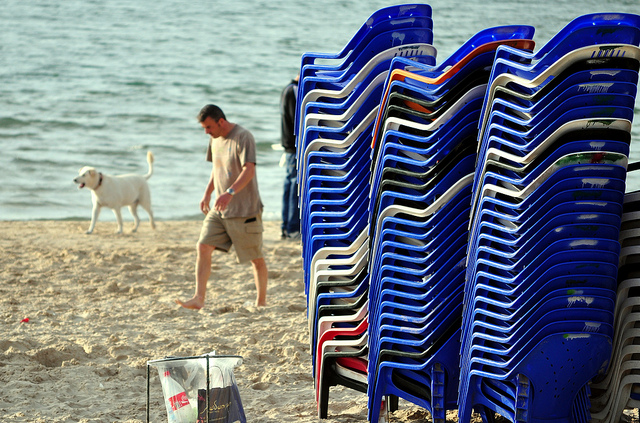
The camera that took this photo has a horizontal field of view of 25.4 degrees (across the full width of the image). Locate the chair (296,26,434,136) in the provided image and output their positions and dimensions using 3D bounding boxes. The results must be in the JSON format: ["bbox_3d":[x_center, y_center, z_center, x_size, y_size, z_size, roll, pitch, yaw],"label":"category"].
[{"bbox_3d":[0.994,-2.219,20.954,1.484,1.803,1.251,23,27,31],"label":"chair"}]

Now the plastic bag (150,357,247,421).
[{"bbox_3d":[-1.629,2.474,19.542,1.173,0.808,0.946,-2,0,14],"label":"plastic bag"}]

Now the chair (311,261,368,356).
[{"bbox_3d":[0.325,1.189,20.323,1.035,1.218,0.801,0,0,-3],"label":"chair"}]

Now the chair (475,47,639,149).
[{"bbox_3d":[3.242,-1.775,19.210,1.315,1.612,1.076,30,27,-5],"label":"chair"}]

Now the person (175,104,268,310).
[{"bbox_3d":[-1.369,-0.005,22.026,1.216,3.237,0.701,2,7,-3],"label":"person"}]

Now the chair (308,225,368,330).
[{"bbox_3d":[0.261,0.715,20.386,1.160,1.359,0.804,0,2,1],"label":"chair"}]

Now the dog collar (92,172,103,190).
[{"bbox_3d":[-3.891,-0.530,25.185,0.144,0.322,0.133,7,8,30],"label":"dog collar"}]
